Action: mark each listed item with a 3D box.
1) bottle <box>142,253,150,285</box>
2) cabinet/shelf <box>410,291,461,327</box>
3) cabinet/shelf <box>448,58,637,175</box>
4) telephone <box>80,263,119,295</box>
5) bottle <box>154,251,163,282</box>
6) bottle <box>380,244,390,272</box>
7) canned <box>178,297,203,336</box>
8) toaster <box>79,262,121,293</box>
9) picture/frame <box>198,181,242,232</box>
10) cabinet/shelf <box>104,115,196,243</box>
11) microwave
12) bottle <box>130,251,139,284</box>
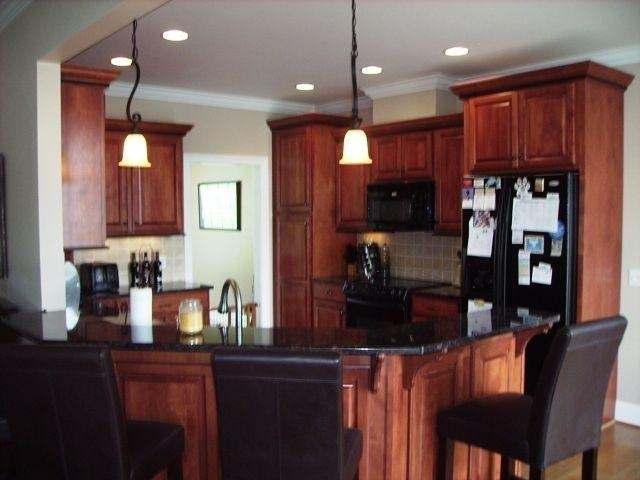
[{"bbox_3d":[-1.658,0.262,5.452,0.066,0.329,0.341,-1,0,-17],"label":"bottle"},{"bbox_3d":[0.932,0.465,4.778,0.292,0.442,0.417,1,-2,-35],"label":"cabinet/shelf"},{"bbox_3d":[1.648,-0.838,4.166,1.248,0.635,0.516,-1,0,15],"label":"cabinet/shelf"},{"bbox_3d":[-1.978,0.327,5.158,0.226,0.273,0.278,7,8,44],"label":"telephone"},{"bbox_3d":[-1.574,0.258,5.555,0.080,0.317,0.297,-1,0,-14],"label":"bottle"},{"bbox_3d":[0.662,0.174,5.835,0.099,0.247,0.102,-1,0,0],"label":"bottle"},{"bbox_3d":[-0.683,0.411,3.075,0.166,0.256,0.156,1,-5,-4],"label":"canned"},{"bbox_3d":[-1.945,0.320,5.114,0.258,0.318,0.305,0,2,40],"label":"toaster"},{"bbox_3d":[-1.347,-0.474,7.830,0.069,0.504,0.651,-7,9,-42],"label":"picture/frame"},{"bbox_3d":[-1.545,-0.547,5.085,1.194,1.122,0.465,-1,2,-40],"label":"cabinet/shelf"},{"bbox_3d":[0.723,-0.325,5.252,0.386,0.528,0.754,-1,2,-35],"label":"microwave"},{"bbox_3d":[-1.770,0.271,5.450,0.088,0.340,0.231,-1,0,-19],"label":"bottle"}]
